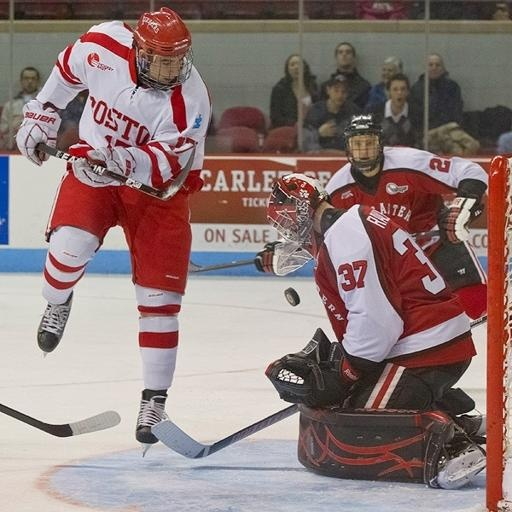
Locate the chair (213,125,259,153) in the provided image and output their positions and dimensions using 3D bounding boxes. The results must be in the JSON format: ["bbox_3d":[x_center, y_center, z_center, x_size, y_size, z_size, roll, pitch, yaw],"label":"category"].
[{"bbox_3d":[-0.142,-0.965,7.549,0.259,0.241,0.323,1,7,11],"label":"chair"}]

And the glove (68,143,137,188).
[{"bbox_3d":[-0.500,-0.291,3.013,0.191,0.114,0.075,4,39,-3],"label":"glove"}]

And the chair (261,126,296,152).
[{"bbox_3d":[0.187,-0.979,7.612,0.240,0.257,0.230,3,23,0],"label":"chair"}]

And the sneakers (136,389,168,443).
[{"bbox_3d":[-0.350,0.523,3.060,0.075,0.092,0.218,5,21,-5],"label":"sneakers"}]

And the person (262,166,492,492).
[{"bbox_3d":[0.333,0.109,2.907,0.678,0.699,0.472,6,11,24],"label":"person"}]

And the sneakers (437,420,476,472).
[{"bbox_3d":[0.605,0.530,2.757,0.102,0.137,0.266,5,9,14],"label":"sneakers"}]

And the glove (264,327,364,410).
[{"bbox_3d":[0.203,0.332,2.862,0.343,0.139,0.197,-6,30,-31],"label":"glove"}]

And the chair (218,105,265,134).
[{"bbox_3d":[-0.106,-1.128,7.476,0.297,0.223,0.299,1,0,6],"label":"chair"}]

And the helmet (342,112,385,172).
[{"bbox_3d":[0.447,-0.461,3.802,0.162,0.256,0.167,3,10,6],"label":"helmet"}]

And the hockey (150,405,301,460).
[{"bbox_3d":[-0.102,0.595,3.110,0.544,0.091,0.058,-15,-4,-26],"label":"hockey"}]

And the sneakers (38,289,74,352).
[{"bbox_3d":[-0.774,0.262,3.523,0.103,0.259,0.127,18,-18,-13],"label":"sneakers"}]

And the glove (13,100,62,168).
[{"bbox_3d":[-0.812,-0.457,3.405,0.169,0.240,0.104,24,-15,-22],"label":"glove"}]
